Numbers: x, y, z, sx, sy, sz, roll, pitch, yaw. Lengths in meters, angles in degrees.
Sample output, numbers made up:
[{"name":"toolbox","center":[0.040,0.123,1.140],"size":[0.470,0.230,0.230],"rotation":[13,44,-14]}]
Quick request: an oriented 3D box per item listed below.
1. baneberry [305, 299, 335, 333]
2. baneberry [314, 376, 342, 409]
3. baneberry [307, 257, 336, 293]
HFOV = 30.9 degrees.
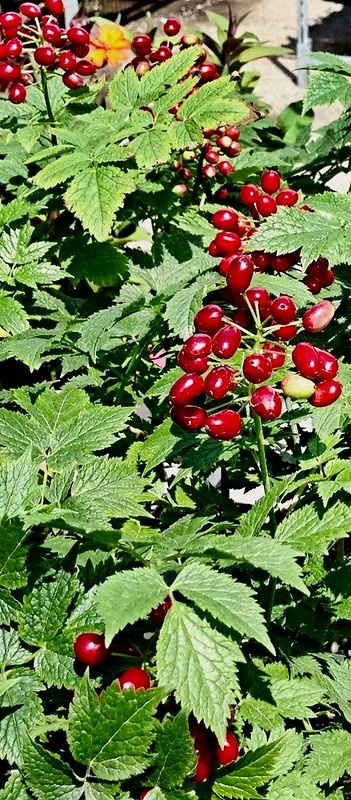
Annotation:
[{"name":"baneberry","center":[0.283,-0.163,1.234],"size":[0.053,0.061,0.105],"rotation":[1,15,27]},{"name":"baneberry","center":[0.268,-0.013,1.134],"size":[0.058,0.038,0.034],"rotation":[-51,1,23]},{"name":"baneberry","center":[0.316,-0.276,1.379],"size":[0.042,0.077,0.072],"rotation":[7,19,-1]}]
